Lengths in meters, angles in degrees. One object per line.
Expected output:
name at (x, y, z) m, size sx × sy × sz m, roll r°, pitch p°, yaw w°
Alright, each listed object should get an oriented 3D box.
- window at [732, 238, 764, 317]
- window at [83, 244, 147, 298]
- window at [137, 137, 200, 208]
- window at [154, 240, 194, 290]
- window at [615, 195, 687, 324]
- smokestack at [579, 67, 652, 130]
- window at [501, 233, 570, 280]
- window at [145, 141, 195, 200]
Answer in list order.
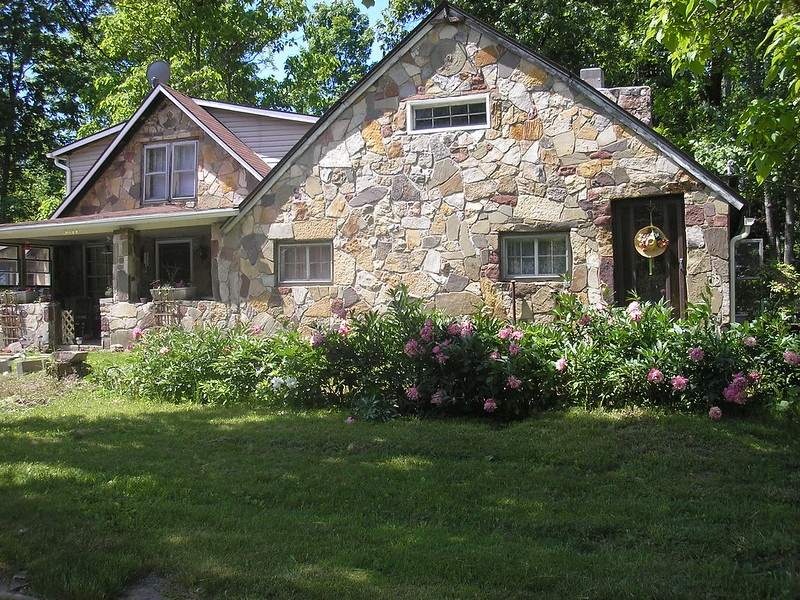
window at (9.257, -0.555, 22.275) m, size 0.891 × 2.136 × 0.078 m, roll -2°, pitch 0°, yaw -5°
window at (-8.109, -0.846, 22.895) m, size 0.851 × 1.827 × 0.064 m, roll -13°, pitch -40°, yaw -16°
window at (-5.791, -3.243, 21.270) m, size 1.774 × 1.893 × 0.193 m, roll 0°, pitch -3°, yaw 17°
window at (-5.925, -0.887, 22.060) m, size 0.917 × 1.416 × 0.110 m, roll -3°, pitch -24°, yaw -8°
window at (4.394, -0.816, 14.777) m, size 1.321 × 2.056 × 0.528 m, roll 4°, pitch 15°, yaw 14°
smokestack at (4.437, -3.904, 16.306) m, size 1.430 × 0.991 × 1.480 m, roll -2°, pitch 3°, yaw -43°
window at (2.554, -0.798, 15.404) m, size 0.828 × 0.623 × 0.093 m, roll 0°, pitch -3°, yaw 18°
window at (-5.796, -3.299, 21.317) m, size 1.407 × 1.493 × 0.160 m, roll 0°, pitch -3°, yaw 15°
